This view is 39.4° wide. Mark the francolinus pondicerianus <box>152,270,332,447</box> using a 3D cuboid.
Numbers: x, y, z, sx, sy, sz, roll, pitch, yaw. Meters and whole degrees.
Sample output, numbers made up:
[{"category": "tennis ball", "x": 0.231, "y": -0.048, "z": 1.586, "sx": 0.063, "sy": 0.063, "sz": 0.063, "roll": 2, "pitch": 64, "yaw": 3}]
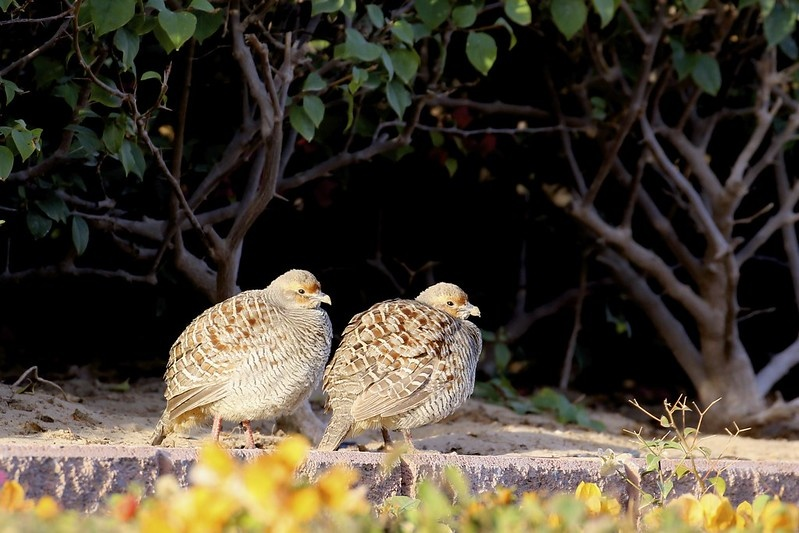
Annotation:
[{"category": "francolinus pondicerianus", "x": -0.995, "y": 0.578, "z": 7.038, "sx": 1.102, "sy": 1.164, "sz": 0.833, "roll": 2, "pitch": 3, "yaw": -7}]

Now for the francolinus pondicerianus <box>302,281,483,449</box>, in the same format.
[{"category": "francolinus pondicerianus", "x": -0.010, "y": 0.678, "z": 7.182, "sx": 1.212, "sy": 1.098, "sz": 0.932, "roll": -7, "pitch": 3, "yaw": -35}]
